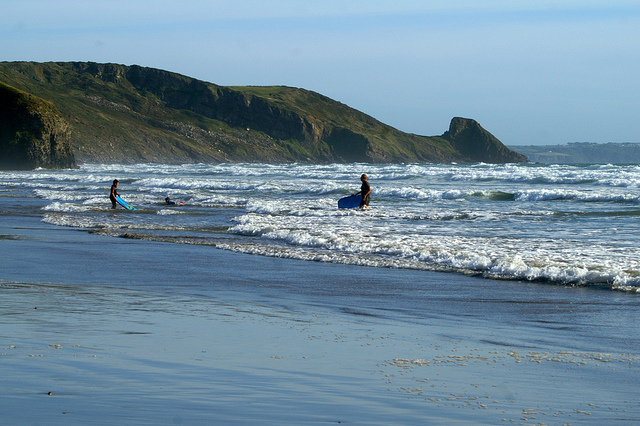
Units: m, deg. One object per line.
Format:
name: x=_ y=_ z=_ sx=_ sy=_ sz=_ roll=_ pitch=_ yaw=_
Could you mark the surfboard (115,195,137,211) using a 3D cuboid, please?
surfboard: x=-13.224 y=-0.598 z=82.027 sx=2.079 sy=0.514 sz=0.276 roll=30 pitch=-44 yaw=-13
